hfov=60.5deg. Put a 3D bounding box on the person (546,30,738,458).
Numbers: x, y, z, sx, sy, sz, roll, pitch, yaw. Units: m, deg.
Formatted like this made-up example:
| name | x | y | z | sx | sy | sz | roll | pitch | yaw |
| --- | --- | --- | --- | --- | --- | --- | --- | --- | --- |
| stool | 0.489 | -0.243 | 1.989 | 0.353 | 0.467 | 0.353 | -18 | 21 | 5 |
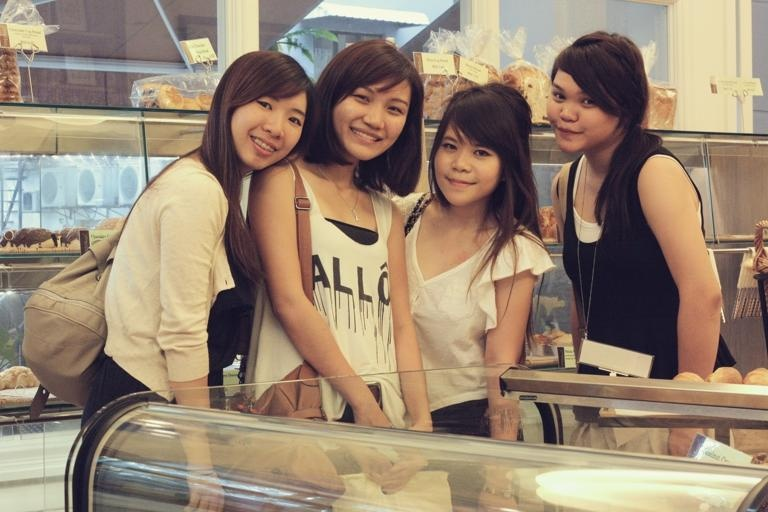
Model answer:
| name | x | y | z | sx | sy | sz | roll | pitch | yaw |
| --- | --- | --- | --- | --- | --- | --- | --- | --- | --- |
| person | 0.832 | -0.165 | 2.234 | 0.552 | 1.140 | 0.330 | -1 | 4 | 27 |
